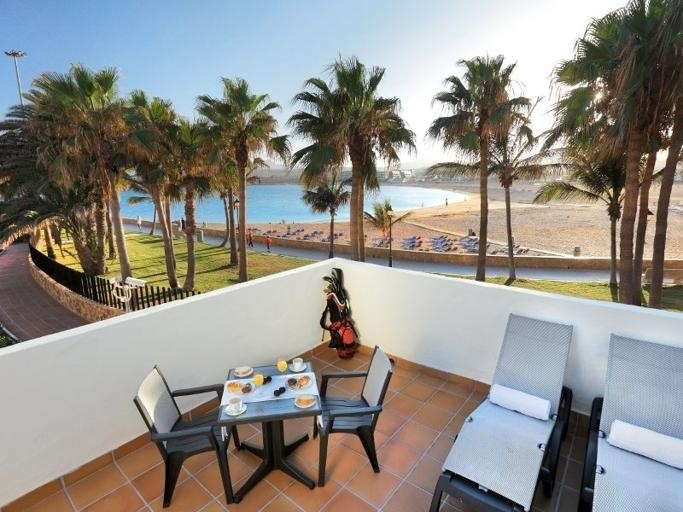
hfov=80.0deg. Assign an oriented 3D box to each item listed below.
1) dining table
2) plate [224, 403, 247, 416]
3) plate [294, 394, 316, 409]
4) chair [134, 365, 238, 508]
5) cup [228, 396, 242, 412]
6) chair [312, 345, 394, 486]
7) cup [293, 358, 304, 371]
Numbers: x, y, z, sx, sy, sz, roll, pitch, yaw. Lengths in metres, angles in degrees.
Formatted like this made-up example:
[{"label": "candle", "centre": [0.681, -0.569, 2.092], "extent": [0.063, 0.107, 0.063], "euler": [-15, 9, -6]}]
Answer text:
[{"label": "dining table", "centre": [-0.874, 2.138, 5.074], "extent": [1.264, 1.158, 1.461], "euler": [2, 15, 15]}, {"label": "plate", "centre": [-1.184, 1.708, 4.549], "extent": [0.149, 0.079, 0.152], "euler": [-11, 20, -36]}, {"label": "plate", "centre": [-0.409, 1.663, 4.682], "extent": [0.246, 0.076, 0.191], "euler": [-4, 8, -5]}, {"label": "chair", "centre": [-1.897, 2.194, 4.846], "extent": [0.851, 1.501, 0.952], "euler": [-2, 20, -5]}, {"label": "cup", "centre": [-1.212, 1.659, 4.577], "extent": [0.098, 0.130, 0.130], "euler": [3, 2, 22]}, {"label": "chair", "centre": [0.036, 1.937, 5.112], "extent": [0.981, 1.415, 1.021], "euler": [-4, 14, -29]}, {"label": "cup", "centre": [-0.572, 1.410, 5.346], "extent": [0.107, 0.122, 0.153], "euler": [-2, 6, 1]}]
